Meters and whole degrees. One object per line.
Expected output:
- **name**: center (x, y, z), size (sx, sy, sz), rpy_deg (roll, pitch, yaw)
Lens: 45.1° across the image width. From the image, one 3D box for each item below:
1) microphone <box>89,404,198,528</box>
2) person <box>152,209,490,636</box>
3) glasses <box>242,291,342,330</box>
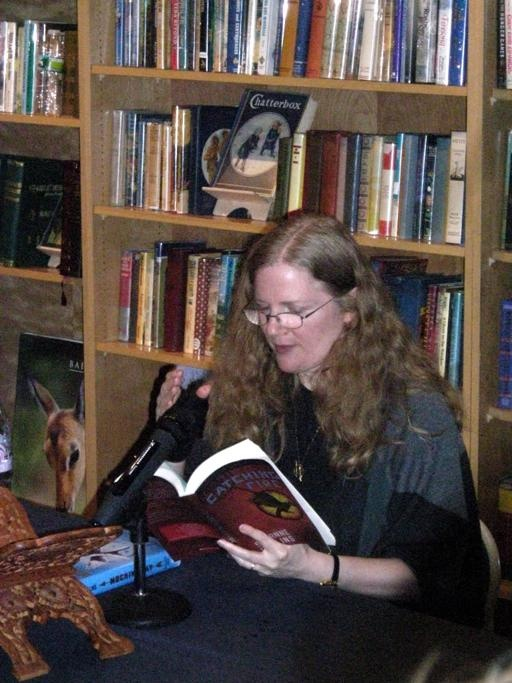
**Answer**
- **microphone**: center (-0.158, 0.185, 0.928), size (0.068, 0.234, 0.054), rpy_deg (45, -13, -33)
- **person**: center (0.159, 0.108, 1.780), size (0.849, 1.150, 0.883), rpy_deg (2, -3, -34)
- **glasses**: center (0.071, -0.057, 1.279), size (0.159, 0.068, 0.083), rpy_deg (3, 2, 24)
